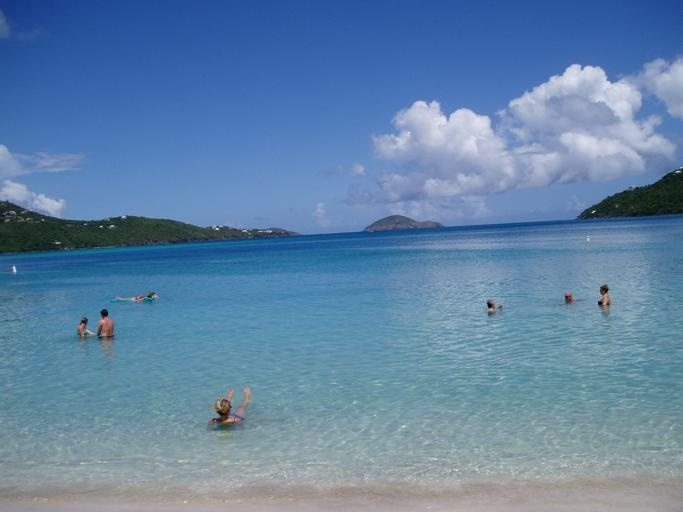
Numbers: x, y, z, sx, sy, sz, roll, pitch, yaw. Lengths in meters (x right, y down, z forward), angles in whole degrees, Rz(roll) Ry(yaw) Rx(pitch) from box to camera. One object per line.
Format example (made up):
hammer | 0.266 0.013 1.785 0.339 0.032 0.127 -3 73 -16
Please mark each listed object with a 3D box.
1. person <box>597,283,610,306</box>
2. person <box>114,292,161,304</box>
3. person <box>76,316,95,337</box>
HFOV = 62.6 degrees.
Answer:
person | 16.160 2.417 34.838 0.627 0.958 1.333 2 8 36
person | -17.113 3.548 46.642 2.776 0.494 1.614 -1 0 23
person | -15.422 4.261 33.868 0.878 1.130 1.324 10 14 17
